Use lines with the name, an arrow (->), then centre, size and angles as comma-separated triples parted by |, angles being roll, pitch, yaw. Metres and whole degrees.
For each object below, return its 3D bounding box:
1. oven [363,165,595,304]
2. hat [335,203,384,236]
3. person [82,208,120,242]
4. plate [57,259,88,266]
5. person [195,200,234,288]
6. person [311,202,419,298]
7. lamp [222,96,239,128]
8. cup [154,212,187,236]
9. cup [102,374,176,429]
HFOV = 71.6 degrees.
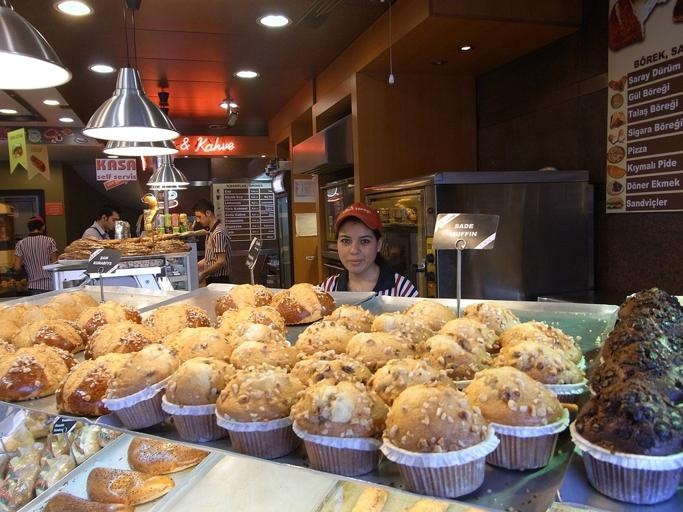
oven -> 1.109, -0.106, 3.603 | 1.295, 0.944, 1.340 | -5, -4, 40
hat -> 0.110, -0.210, 2.761 | 0.249, 0.194, 0.230 | -7, 16, -20
person -> -3.676, -0.473, 7.220 | 0.382, 0.571, 0.733 | 12, 9, -25
plate -> -2.447, 0.054, 4.280 | 0.356, 0.030, 0.133 | 4, 16, 19
person -> -1.732, -0.111, 6.385 | 0.448, 1.248, 1.229 | -6, 16, -17
person -> 0.152, -0.001, 2.901 | 0.799, 0.699, 0.492 | -2, -4, 22
lamp -> -1.557, -2.063, 6.688 | 0.259, 0.286, 0.267 | 3, 4, 40
cup -> -2.288, -0.416, 6.311 | 0.376, 0.354, 0.220 | -2, 13, -16
cup -> -0.512, 0.347, 1.165 | 0.127, 0.063, 0.127 | -24, -9, -4
